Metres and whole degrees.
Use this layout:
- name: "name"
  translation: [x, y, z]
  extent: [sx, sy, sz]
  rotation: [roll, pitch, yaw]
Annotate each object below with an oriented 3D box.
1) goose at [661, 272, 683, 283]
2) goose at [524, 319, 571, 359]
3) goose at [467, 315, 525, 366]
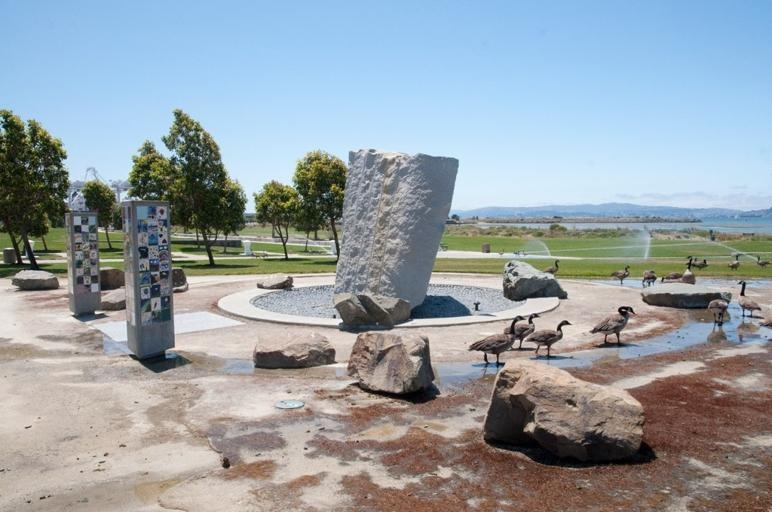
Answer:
- name: "goose"
  translation: [20.016, 1.413, 33.503]
  extent: [1.431, 0.417, 0.600]
  rotation: [-3, 26, -24]
- name: "goose"
  translation: [5.629, 2.953, 16.716]
  extent: [0.983, 1.271, 1.688]
  rotation: [7, 12, 26]
- name: "goose"
  translation: [3.437, 2.824, 16.156]
  extent: [3.086, 1.882, 0.968]
  rotation: [0, 3, -12]
